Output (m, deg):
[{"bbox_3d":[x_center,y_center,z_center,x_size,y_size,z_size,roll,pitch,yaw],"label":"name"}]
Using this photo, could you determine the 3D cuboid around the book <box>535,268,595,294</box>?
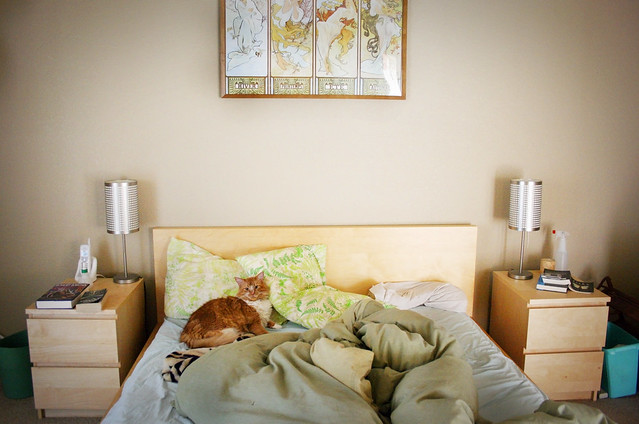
[{"bbox_3d":[1.858,0.533,3.353,0.290,0.073,0.219,-1,7,15],"label":"book"}]

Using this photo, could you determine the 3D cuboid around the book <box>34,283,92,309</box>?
[{"bbox_3d":[-1.808,0.575,3.117,0.205,0.045,0.198,1,17,2],"label":"book"}]

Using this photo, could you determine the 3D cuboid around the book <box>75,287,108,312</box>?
[{"bbox_3d":[-1.588,0.608,3.054,0.126,0.040,0.172,0,14,-10],"label":"book"}]

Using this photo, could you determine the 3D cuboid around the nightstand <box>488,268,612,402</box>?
[{"bbox_3d":[1.712,0.938,3.730,0.948,1.207,0.910,0,5,3],"label":"nightstand"}]

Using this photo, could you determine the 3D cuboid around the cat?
[{"bbox_3d":[-0.635,0.674,3.060,0.526,0.293,0.401,-7,3,0],"label":"cat"}]

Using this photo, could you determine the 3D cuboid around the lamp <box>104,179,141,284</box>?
[{"bbox_3d":[-1.524,0.147,3.435,0.252,0.795,0.280,-4,7,-23],"label":"lamp"}]

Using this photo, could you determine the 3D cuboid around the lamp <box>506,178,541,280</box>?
[{"bbox_3d":[1.671,0.135,3.570,0.235,0.788,0.317,2,7,24],"label":"lamp"}]

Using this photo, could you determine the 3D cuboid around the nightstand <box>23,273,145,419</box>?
[{"bbox_3d":[-1.636,0.999,3.532,0.823,1.060,0.985,0,3,-5],"label":"nightstand"}]

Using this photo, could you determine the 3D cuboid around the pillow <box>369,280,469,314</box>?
[{"bbox_3d":[0.803,0.634,3.413,0.475,0.121,0.354,1,4,-2],"label":"pillow"}]
